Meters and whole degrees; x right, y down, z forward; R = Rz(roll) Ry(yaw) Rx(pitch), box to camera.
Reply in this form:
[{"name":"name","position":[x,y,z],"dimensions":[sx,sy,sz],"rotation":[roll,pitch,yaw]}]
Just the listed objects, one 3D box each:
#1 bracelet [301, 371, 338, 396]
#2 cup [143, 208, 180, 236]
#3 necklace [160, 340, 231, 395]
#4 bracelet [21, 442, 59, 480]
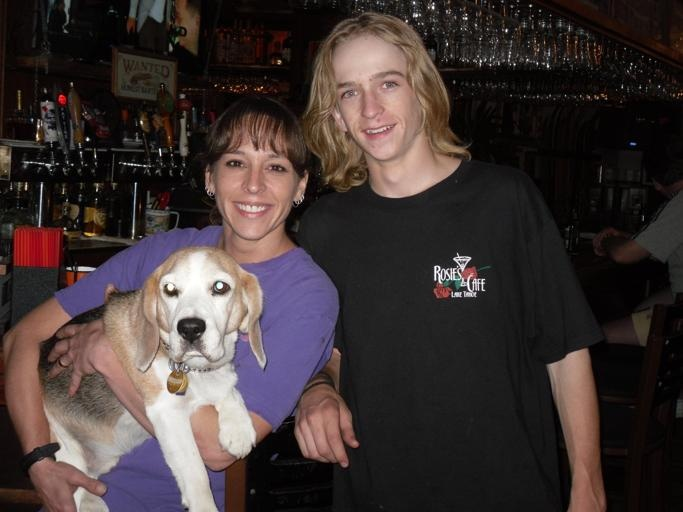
[{"name":"bracelet","position":[-0.091,0.572,2.800],"dimensions":[0.089,0.087,0.111],"rotation":[-1,-2,3]},{"name":"cup","position":[-1.484,-0.297,5.128],"dimensions":[0.294,0.308,0.271],"rotation":[2,7,0]},{"name":"necklace","position":[-0.608,0.542,2.745],"dimensions":[0.260,0.326,0.179],"rotation":[-8,-27,27]},{"name":"bracelet","position":[-1.349,0.887,2.752],"dimensions":[0.131,0.078,0.150],"rotation":[-29,3,4]}]
